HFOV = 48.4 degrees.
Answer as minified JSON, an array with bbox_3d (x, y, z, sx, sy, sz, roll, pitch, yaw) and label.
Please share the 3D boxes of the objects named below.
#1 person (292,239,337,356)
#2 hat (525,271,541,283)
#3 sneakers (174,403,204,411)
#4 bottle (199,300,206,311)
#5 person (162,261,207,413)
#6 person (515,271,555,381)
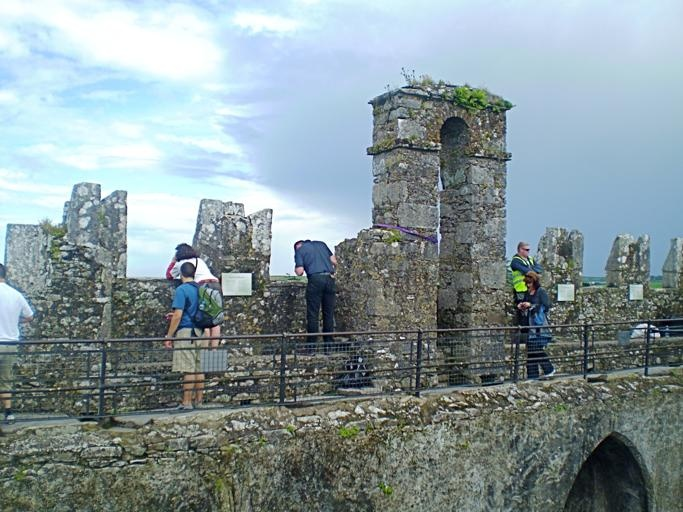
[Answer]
[{"bbox_3d":[-0.459,0.512,12.840,0.715,1.535,0.403,4,-7,-7],"label":"person"},{"bbox_3d":[3.258,0.356,13.000,0.136,0.178,0.152,-29,-16,28],"label":"hat"},{"bbox_3d":[-2.143,2.115,10.607,0.328,0.086,0.128,6,-9,-10],"label":"sneakers"},{"bbox_3d":[-2.011,0.717,10.856,0.071,0.128,0.042,6,9,10],"label":"bottle"},{"bbox_3d":[-2.206,1.096,10.781,0.580,2.074,0.974,4,-7,-11],"label":"person"},{"bbox_3d":[3.307,1.169,12.878,0.610,1.798,1.152,1,-7,14],"label":"person"}]
